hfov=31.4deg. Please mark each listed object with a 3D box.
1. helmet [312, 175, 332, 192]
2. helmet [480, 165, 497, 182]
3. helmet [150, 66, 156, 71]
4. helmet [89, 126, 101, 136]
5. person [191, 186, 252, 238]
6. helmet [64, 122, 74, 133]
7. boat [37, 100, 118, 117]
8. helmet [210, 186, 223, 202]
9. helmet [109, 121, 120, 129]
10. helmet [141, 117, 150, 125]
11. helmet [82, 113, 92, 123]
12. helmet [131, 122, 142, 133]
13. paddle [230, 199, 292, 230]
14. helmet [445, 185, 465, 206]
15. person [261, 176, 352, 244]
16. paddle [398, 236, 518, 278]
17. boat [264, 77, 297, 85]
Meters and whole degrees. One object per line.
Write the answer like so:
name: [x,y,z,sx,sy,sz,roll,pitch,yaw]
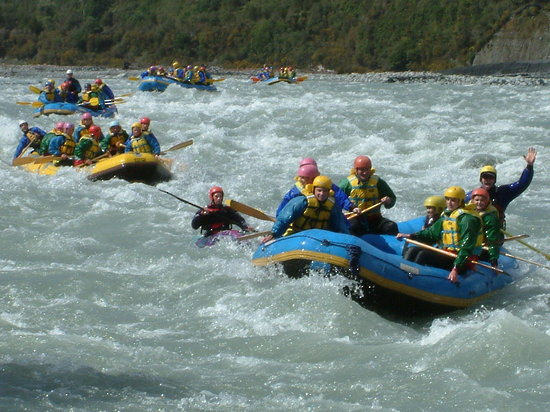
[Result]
helmet: [0.998,-0.501,20.937,0.410,0.300,0.297,6,12,-1]
helmet: [4.677,-0.728,21.501,0.335,0.320,0.392,8,12,8]
helmet: [-4.922,-5.505,39.142,0.223,0.101,0.193,-17,25,-2]
helmet: [-4.845,-2.006,26.244,0.268,0.157,0.320,18,38,14]
person: [-1.288,0.186,22.818,1.793,0.552,0.944,36,37,23]
helmet: [-5.601,-2.103,26.251,0.341,0.268,0.238,-11,21,-17]
boat: [-6.541,-3.170,32.047,2.425,0.386,1.198,2,7,12]
helmet: [-1.361,-0.316,22.350,0.287,0.294,0.389,6,11,-2]
helmet: [-4.314,-2.184,26.261,0.257,0.210,0.305,-13,-14,-8]
helmet: [-3.456,-2.253,26.106,0.238,0.195,0.275,8,19,-17]
helmet: [-5.122,-2.401,26.563,0.284,0.220,0.323,-2,13,-15]
helmet: [-3.691,-2.085,25.915,0.267,0.233,0.281,1,-31,-4]
paddle: [-0.363,0.218,22.501,1.764,0.216,0.219,17,26,-12]
helmet: [3.779,-0.227,20.529,0.464,0.388,0.274,6,13,1]
person: [0.706,0.126,21.462,1.356,1.387,0.810,21,30,-15]
paddle: [3.735,1.077,20.672,3.252,0.097,0.110,15,-11,4]
boat: [0.208,-5.822,45.676,0.897,0.263,2.586,9,11,22]
